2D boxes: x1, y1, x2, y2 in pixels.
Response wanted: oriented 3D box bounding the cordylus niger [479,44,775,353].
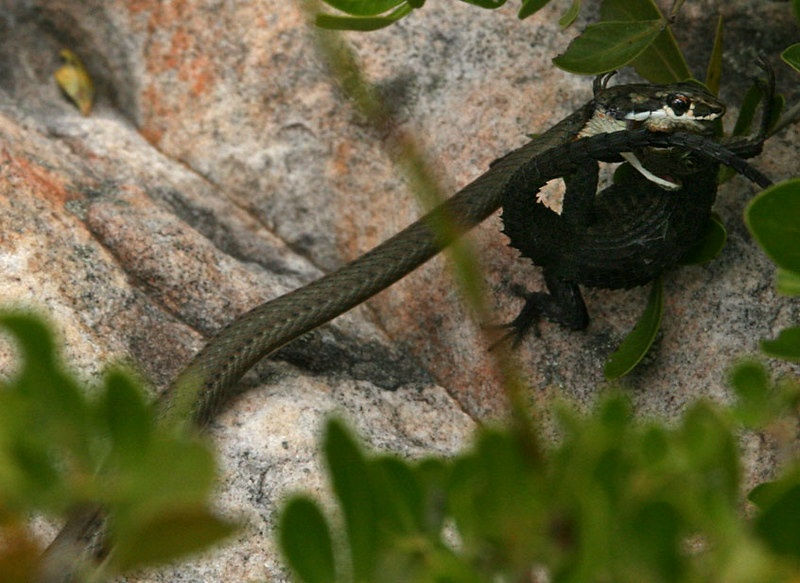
[{"bbox_3d":[0.929,-0.349,5.301,1.333,0.476,0.963,-50,52,26],"label":"cordylus niger"}]
